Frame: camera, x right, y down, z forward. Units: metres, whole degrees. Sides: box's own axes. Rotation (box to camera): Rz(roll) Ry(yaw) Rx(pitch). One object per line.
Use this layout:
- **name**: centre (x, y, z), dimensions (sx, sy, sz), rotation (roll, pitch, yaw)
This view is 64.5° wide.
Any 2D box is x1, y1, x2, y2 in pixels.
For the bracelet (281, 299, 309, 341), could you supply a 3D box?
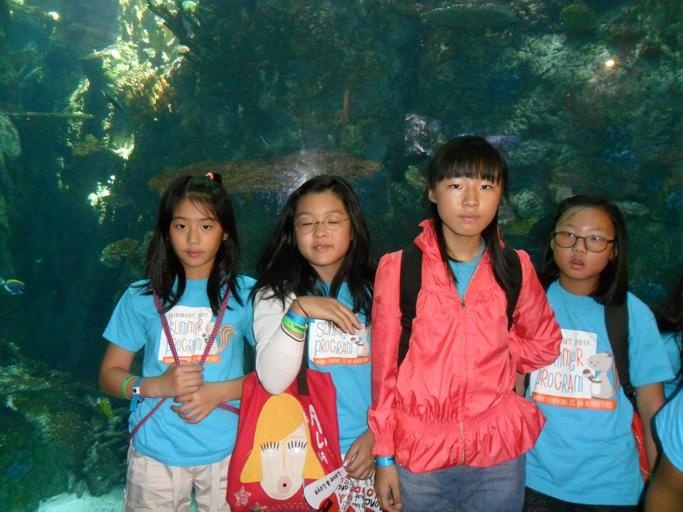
- **bracelet**: centre (-0.397, 0.513, 4.249), dimensions (0.211, 0.253, 0.270), rotation (-19, -32, 41)

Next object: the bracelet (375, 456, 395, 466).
- **bracelet**: centre (0.347, 1.634, 4.297), dimensions (0.144, 0.094, 0.033), rotation (-1, -2, 2)

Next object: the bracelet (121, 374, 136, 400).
- **bracelet**: centre (-1.796, 1.109, 4.576), dimensions (0.056, 0.176, 0.147), rotation (4, 8, -8)
